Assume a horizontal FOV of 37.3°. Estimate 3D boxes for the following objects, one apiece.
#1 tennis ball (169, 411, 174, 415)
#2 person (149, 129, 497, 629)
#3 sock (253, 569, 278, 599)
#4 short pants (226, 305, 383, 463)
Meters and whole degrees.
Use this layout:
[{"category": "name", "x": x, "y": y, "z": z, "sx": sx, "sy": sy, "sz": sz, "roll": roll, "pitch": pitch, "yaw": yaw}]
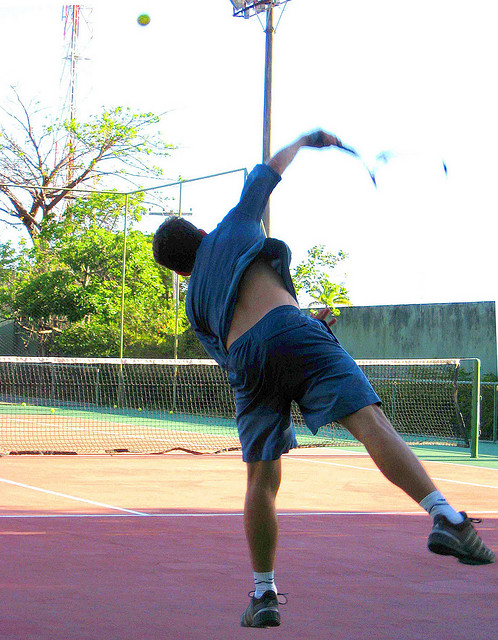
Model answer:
[{"category": "tennis ball", "x": -1.659, "y": 1.994, "z": 16.017, "sx": 0.107, "sy": 0.040, "sz": 0.098, "roll": -17, "pitch": -13, "yaw": -4}, {"category": "person", "x": 0.186, "y": 0.190, "z": 2.300, "sx": 1.130, "sy": 1.613, "sz": 0.287, "roll": -4, "pitch": -2, "yaw": 45}, {"category": "sock", "x": 0.050, "y": 0.846, "z": 2.410, "sx": 0.068, "sy": 0.084, "sz": 0.136, "roll": -2, "pitch": -2, "yaw": -1}, {"category": "short pants", "x": 0.142, "y": 0.207, "z": 2.316, "sx": 0.500, "sy": 0.399, "sz": 0.263, "roll": -30, "pitch": -32, "yaw": 30}]
